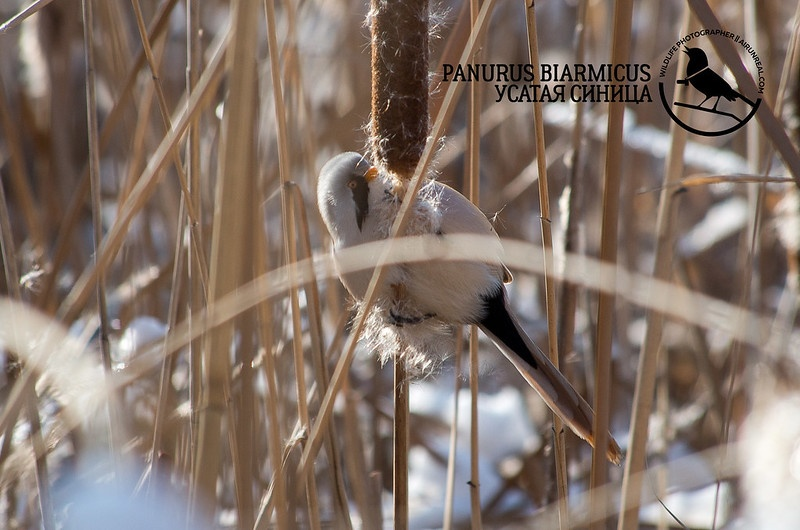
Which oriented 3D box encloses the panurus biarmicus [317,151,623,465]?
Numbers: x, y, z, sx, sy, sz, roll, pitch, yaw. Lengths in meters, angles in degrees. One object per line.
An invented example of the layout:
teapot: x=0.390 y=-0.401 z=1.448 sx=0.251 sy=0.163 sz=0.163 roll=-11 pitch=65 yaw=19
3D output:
panurus biarmicus: x=0.186 y=0.163 z=3.332 sx=0.983 sy=0.275 sz=0.456 roll=37 pitch=-52 yaw=14
